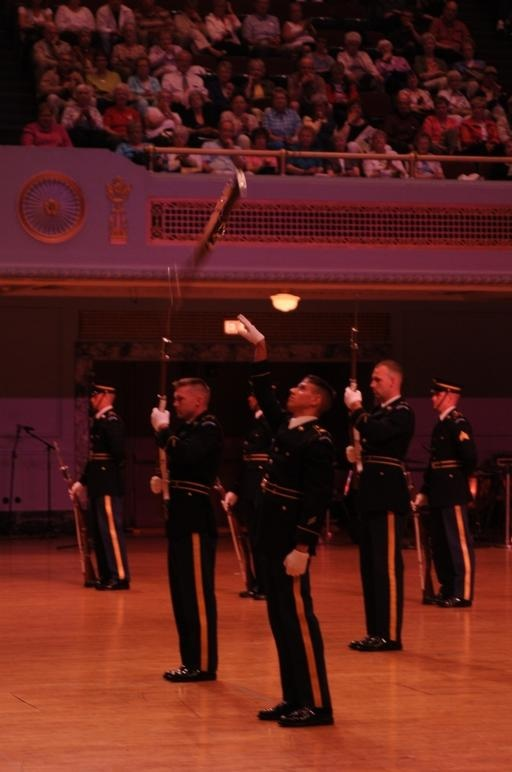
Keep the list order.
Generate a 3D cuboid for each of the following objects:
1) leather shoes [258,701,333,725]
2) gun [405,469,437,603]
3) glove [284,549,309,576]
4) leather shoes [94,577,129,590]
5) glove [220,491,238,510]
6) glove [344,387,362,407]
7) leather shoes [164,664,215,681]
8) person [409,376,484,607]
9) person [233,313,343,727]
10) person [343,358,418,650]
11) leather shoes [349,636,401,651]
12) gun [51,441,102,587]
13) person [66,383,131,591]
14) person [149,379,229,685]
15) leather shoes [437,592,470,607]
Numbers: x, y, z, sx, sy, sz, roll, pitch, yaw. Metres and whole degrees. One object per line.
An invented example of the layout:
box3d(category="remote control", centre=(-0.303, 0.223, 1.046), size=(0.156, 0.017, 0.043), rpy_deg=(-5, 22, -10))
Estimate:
box3d(category="leather shoes", centre=(0.172, 1.439, 5.401), size=(0.305, 0.111, 0.112), rpy_deg=(3, -7, 12))
box3d(category="gun", centre=(1.192, 1.114, 8.917), size=(0.175, 1.000, 0.078), rpy_deg=(-9, 0, 7))
box3d(category="glove", centre=(0.175, 0.768, 5.364), size=(0.101, 0.115, 0.065), rpy_deg=(3, -6, -8))
box3d(category="leather shoes", centre=(-1.042, 1.441, 8.959), size=(0.250, 0.096, 0.088), rpy_deg=(6, -12, 5))
box3d(category="glove", centre=(-0.170, 0.783, 8.253), size=(0.058, 0.144, 0.114), rpy_deg=(14, 11, -36))
box3d(category="glove", centre=(0.521, 0.073, 6.714), size=(0.071, 0.119, 0.090), rpy_deg=(0, 30, -3))
box3d(category="leather shoes", centre=(-0.339, 1.428, 6.151), size=(0.273, 0.092, 0.085), rpy_deg=(3, -14, 1))
box3d(category="person", centre=(1.288, 0.724, 8.439), size=(0.429, 1.499, 0.512), rpy_deg=(-1, 2, 7))
box3d(category="person", centre=(0.174, 0.720, 5.510), size=(0.363, 1.514, 0.415), rpy_deg=(-1, 3, 3))
box3d(category="person", centre=(0.697, 0.660, 6.925), size=(0.380, 1.579, 0.537), rpy_deg=(-1, 2, 7))
box3d(category="leather shoes", centre=(0.651, 1.423, 6.801), size=(0.196, 0.056, 0.108), rpy_deg=(0, -1, 19))
box3d(category="gun", centre=(-1.548, 1.110, 10.517), size=(0.181, 1.086, 0.060), rpy_deg=(-17, -8, 16))
box3d(category="person", centre=(-1.154, 0.734, 9.066), size=(0.398, 1.468, 0.467), rpy_deg=(-2, 3, -7))
box3d(category="person", centre=(-0.339, 0.711, 6.262), size=(0.349, 1.486, 0.491), rpy_deg=(-1, 2, 4))
box3d(category="leather shoes", centre=(1.331, 1.446, 8.328), size=(0.234, 0.084, 0.073), rpy_deg=(-1, -6, 1))
